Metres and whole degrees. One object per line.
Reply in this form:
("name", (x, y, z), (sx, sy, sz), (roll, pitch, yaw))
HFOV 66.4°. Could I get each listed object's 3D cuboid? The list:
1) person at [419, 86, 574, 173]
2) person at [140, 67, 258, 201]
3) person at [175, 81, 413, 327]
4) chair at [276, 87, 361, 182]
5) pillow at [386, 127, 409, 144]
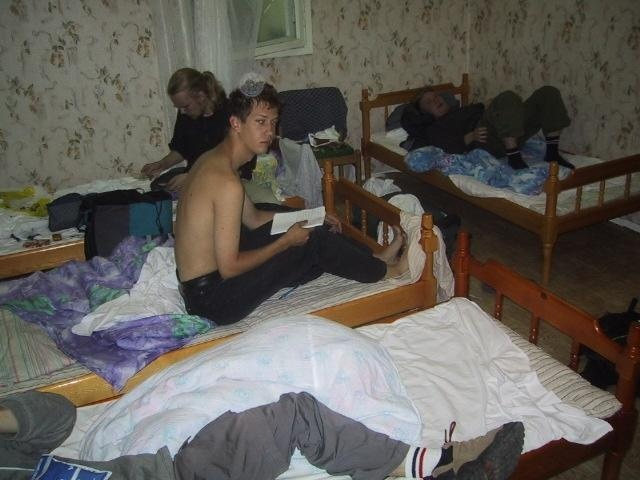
("person", (1.387, -0.986, 4.172), (0.720, 0.775, 1.243), (-20, 16, -36))
("person", (-0.931, -0.730, 3.712), (0.811, 0.946, 0.780), (-1, -15, -35))
("person", (-0.116, -0.208, 2.516), (1.235, 1.063, 0.546), (-9, 17, -23))
("chair", (0.011, -0.795, 4.605), (0.710, 1.105, 0.732), (-11, 23, -15))
("pillow", (0.727, -0.992, 4.650), (0.173, 0.064, 0.170), (-29, 38, -36))
